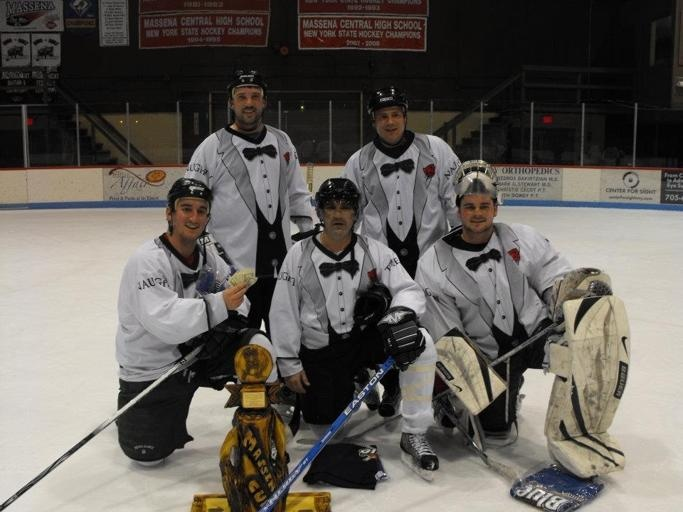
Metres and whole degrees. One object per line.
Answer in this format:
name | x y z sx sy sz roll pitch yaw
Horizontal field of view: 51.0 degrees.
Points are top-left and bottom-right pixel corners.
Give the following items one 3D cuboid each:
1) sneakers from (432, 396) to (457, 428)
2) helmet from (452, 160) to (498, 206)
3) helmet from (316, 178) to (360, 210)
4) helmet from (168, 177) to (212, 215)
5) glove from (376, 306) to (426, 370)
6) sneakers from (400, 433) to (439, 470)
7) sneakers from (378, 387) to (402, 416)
sneakers | 0.644 0.920 4.376 0.115 0.071 0.245 38 -5 22
helmet | 0.826 -0.429 4.415 0.215 0.289 0.263 -1 -13 7
helmet | -0.021 -0.377 4.274 0.256 0.188 0.194 1 5 0
helmet | -0.891 -0.373 4.145 0.186 0.209 0.214 12 -31 -37
glove | 0.326 0.420 4.073 0.271 0.177 0.363 -13 47 -12
sneakers | 0.435 1.117 4.064 0.241 0.196 0.149 3 6 22
sneakers | 0.303 0.944 4.556 0.132 0.080 0.263 6 7 17
